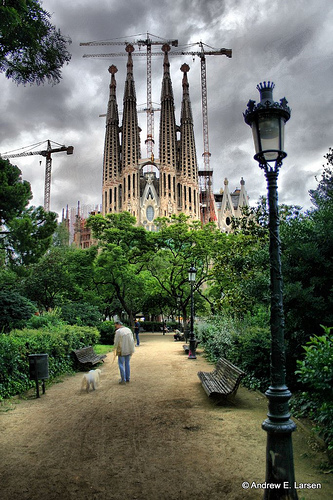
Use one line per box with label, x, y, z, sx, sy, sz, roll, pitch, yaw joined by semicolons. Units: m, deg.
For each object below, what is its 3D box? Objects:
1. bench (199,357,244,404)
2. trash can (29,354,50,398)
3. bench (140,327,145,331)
bench;1.234;2.874;8.962;0.552;0.530;1.523;1;-7;0
trash can;-2.964;2.909;9.563;0.448;0.997;0.592;-5;-4;5
bench;-2.846;9.184;47.232;0.782;0.173;0.709;2;1;-13
